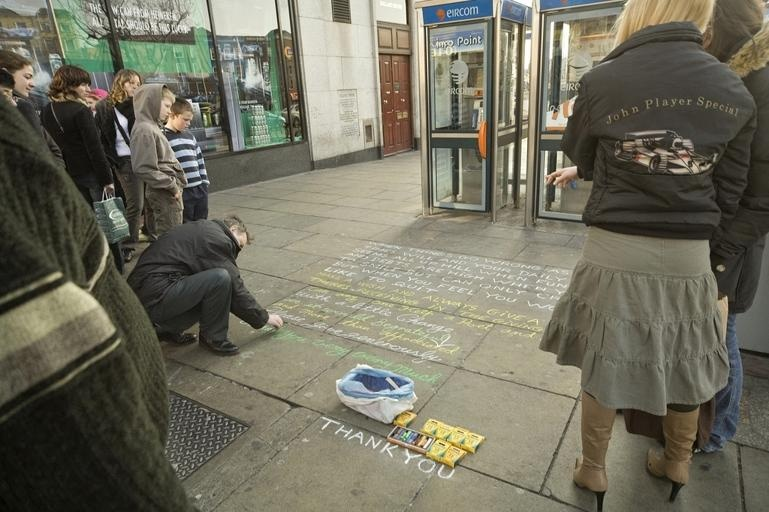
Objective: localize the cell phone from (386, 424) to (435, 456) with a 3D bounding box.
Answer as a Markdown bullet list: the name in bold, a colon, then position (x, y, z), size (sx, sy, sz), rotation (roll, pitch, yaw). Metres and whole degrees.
- **cell phone**: position (0.174, 1.228, 3.162), size (0.224, 0.041, 0.129), rotation (11, 29, 25)

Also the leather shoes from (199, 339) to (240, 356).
- **leather shoes**: position (-1.495, 0.824, 4.271), size (0.332, 0.135, 0.134), rotation (3, 15, 12)

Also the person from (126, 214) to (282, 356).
- **person**: position (-1.640, 0.264, 4.491), size (1.416, 1.125, 1.234), rotation (10, 1, 9)

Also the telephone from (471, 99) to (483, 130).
- **telephone**: position (1.515, -2.303, 7.749), size (0.180, 0.477, 0.513), rotation (0, 24, 9)

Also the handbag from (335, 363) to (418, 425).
- **handbag**: position (-0.073, 0.994, 3.481), size (0.503, 0.207, 0.358), rotation (9, 18, 32)
